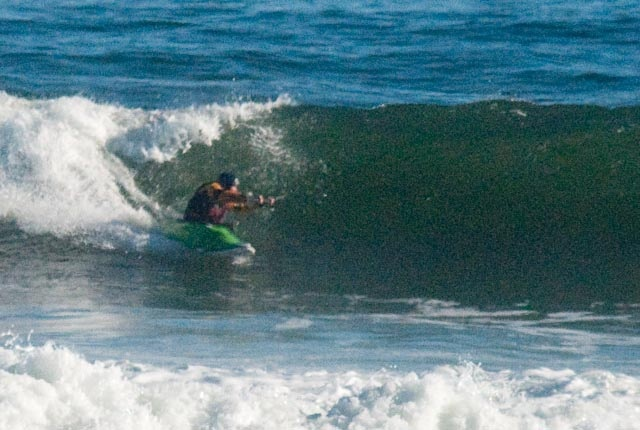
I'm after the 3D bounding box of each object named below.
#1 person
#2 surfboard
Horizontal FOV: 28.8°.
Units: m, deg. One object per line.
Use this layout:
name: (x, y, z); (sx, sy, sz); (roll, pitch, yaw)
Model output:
person: (-1.809, -0.304, 23.857); (1.717, 0.995, 0.492); (2, 3, 33)
surfboard: (-2.201, 0.437, 24.038); (1.979, 0.545, 0.455); (9, -33, 3)
